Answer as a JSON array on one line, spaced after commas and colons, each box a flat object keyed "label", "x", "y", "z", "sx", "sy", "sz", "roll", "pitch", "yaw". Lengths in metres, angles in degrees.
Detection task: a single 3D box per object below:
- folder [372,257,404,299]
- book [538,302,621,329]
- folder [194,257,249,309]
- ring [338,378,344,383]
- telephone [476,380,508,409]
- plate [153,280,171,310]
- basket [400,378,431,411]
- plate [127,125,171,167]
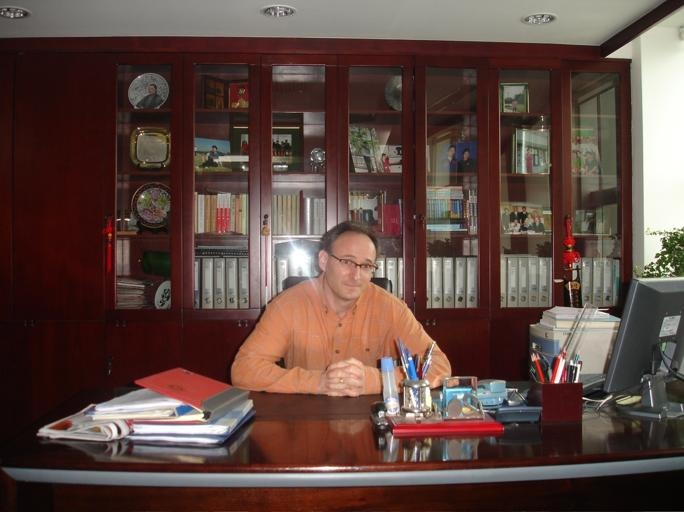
[{"label": "folder", "x": 0.356, "y": 0.137, "z": 3.686, "sx": 0.263, "sy": 0.248, "sz": 0.067, "roll": 6, "pitch": -2, "yaw": -16}, {"label": "book", "x": 1.218, "y": 0.330, "z": 3.049, "sx": 0.342, "sy": 0.081, "sz": 0.335, "roll": 1, "pitch": -1, "yaw": 32}, {"label": "folder", "x": -0.785, "y": 0.183, "z": 3.727, "sx": 0.316, "sy": 0.316, "sz": 0.166, "roll": 0, "pitch": -2, "yaw": -4}, {"label": "ring", "x": -0.004, "y": 0.471, "z": 2.201, "sx": 0.018, "sy": 0.017, "sz": 0.004, "roll": 0, "pitch": -6, "yaw": -4}, {"label": "telephone", "x": 0.531, "y": 0.489, "z": 2.062, "sx": 0.095, "sy": 0.071, "sz": 0.104, "roll": 2, "pitch": -2, "yaw": -8}, {"label": "plate", "x": -1.134, "y": 0.245, "z": 3.708, "sx": 0.148, "sy": 0.151, "sz": 0.025, "roll": 15, "pitch": -4, "yaw": 10}, {"label": "basket", "x": 0.255, "y": 0.473, "z": 1.982, "sx": 0.099, "sy": 0.110, "sz": 0.099, "roll": 2, "pitch": -6, "yaw": -13}, {"label": "plate", "x": -1.227, "y": -0.690, "z": 3.750, "sx": 0.255, "sy": 0.260, "sz": 0.061, "roll": 2, "pitch": -3, "yaw": -1}]
